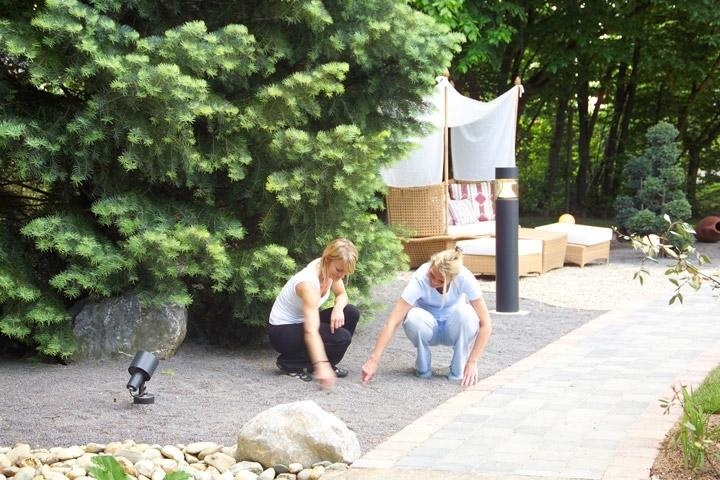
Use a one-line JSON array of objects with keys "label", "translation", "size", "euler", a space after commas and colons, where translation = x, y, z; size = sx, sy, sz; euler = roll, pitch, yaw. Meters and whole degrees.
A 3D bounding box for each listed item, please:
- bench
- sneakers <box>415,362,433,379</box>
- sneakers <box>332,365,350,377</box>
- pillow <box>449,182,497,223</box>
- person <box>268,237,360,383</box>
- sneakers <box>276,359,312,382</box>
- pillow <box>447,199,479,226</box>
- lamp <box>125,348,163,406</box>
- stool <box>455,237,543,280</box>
[{"label": "bench", "translation": [1.247, -0.287, 14.405], "size": [1.155, 1.197, 1.773], "euler": [10, 15, 43]}, {"label": "sneakers", "translation": [0.650, 1.343, 8.467], "size": [0.111, 0.173, 0.166], "euler": [0, -4, -15]}, {"label": "sneakers", "translation": [-0.202, 1.364, 8.560], "size": [0.177, 0.085, 0.068], "euler": [14, 24, 33]}, {"label": "pillow", "translation": [2.146, -0.718, 15.642], "size": [1.028, 0.796, 0.304], "euler": [-2, -11, -37]}, {"label": "person", "translation": [-0.384, 0.704, 8.441], "size": [0.827, 1.446, 1.038], "euler": [-8, 12, -35]}, {"label": "sneakers", "translation": [-0.656, 1.330, 8.647], "size": [0.458, 0.218, 0.161], "euler": [7, 21, 30]}, {"label": "pillow", "translation": [1.864, -0.508, 15.132], "size": [0.501, 0.537, 0.149], "euler": [-6, -19, -43]}, {"label": "lamp", "translation": [-2.069, 1.298, 7.884], "size": [0.293, 0.476, 0.366], "euler": [-4, 10, -17]}, {"label": "stool", "translation": [2.170, 0.172, 13.772], "size": [0.588, 0.394, 0.839], "euler": [9, 31, 40]}]
